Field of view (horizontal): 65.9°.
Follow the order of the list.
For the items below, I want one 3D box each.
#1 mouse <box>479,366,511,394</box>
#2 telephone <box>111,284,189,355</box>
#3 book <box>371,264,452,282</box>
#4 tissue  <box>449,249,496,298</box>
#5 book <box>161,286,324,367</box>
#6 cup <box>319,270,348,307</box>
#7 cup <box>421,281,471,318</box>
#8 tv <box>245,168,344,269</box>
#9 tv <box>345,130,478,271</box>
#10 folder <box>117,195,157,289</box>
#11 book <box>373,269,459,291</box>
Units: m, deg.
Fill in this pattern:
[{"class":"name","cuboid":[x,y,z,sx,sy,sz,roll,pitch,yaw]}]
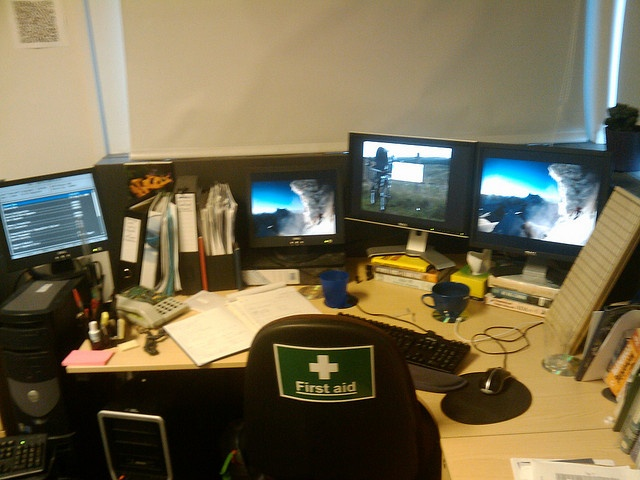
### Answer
[{"class":"mouse","cuboid":[0.558,0.447,1.598,0.063,0.029,0.105,8,27,34]},{"class":"telephone","cuboid":[-0.716,0.273,2.074,0.301,0.088,0.241,15,22,39]},{"class":"book","cuboid":[0.410,0.150,2.219,0.147,0.023,0.146,11,13,43]},{"class":"tissue ","cuboid":[0.665,0.151,2.124,0.193,0.200,0.163,7,35,23]},{"class":"book","cuboid":[-0.347,0.334,1.940,0.517,0.066,0.286,-13,30,-28]},{"class":"cup","cuboid":[0.071,0.200,2.096,0.182,0.141,0.154,-1,12,1]},{"class":"cup","cuboid":[0.516,0.233,1.969,0.214,0.107,0.130,-3,22,5]},{"class":"tv","cuboid":[-0.117,-0.114,2.258,0.651,0.434,0.323,0,4,-5]},{"class":"tv","cuboid":[0.423,-0.175,2.246,0.916,0.481,0.073,5,20,17]},{"class":"folder","cuboid":[-0.785,0.041,2.209,0.095,0.316,0.404,14,-16,-32]},{"class":"book","cuboid":[0.396,0.182,2.221,0.163,0.028,0.151,10,15,29]}]
